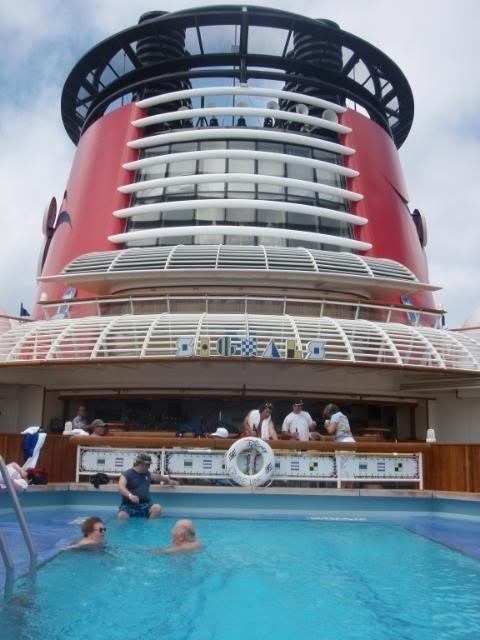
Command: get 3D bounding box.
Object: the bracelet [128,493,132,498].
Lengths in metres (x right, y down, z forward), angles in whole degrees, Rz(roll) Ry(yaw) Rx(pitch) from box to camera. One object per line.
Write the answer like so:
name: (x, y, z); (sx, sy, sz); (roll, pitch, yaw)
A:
bracelet: (-1.800, 2.839, 7.803); (0.065, 0.104, 0.174); (5, -13, -12)

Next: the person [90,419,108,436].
person: (-3.032, 2.294, 10.250); (0.270, 0.331, 0.861); (6, -14, -19)

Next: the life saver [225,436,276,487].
life saver: (0.172, 2.643, 8.905); (0.881, 0.898, 0.381); (2, -14, 0)

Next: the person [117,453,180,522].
person: (-1.594, 2.975, 8.446); (0.945, 1.167, 0.541); (26, -64, -31)

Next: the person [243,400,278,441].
person: (0.408, 2.090, 10.031); (0.627, 0.746, 1.201); (2, -13, -1)

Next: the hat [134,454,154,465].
hat: (-1.619, 2.289, 7.933); (0.234, 0.186, 0.192); (2, 1, -8)

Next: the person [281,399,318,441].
person: (1.373, 2.159, 10.390); (0.904, 0.831, 0.602); (12, -17, -36)

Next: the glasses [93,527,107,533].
glasses: (-1.837, 2.707, 6.194); (0.110, 0.044, 0.104); (-7, -16, 21)
